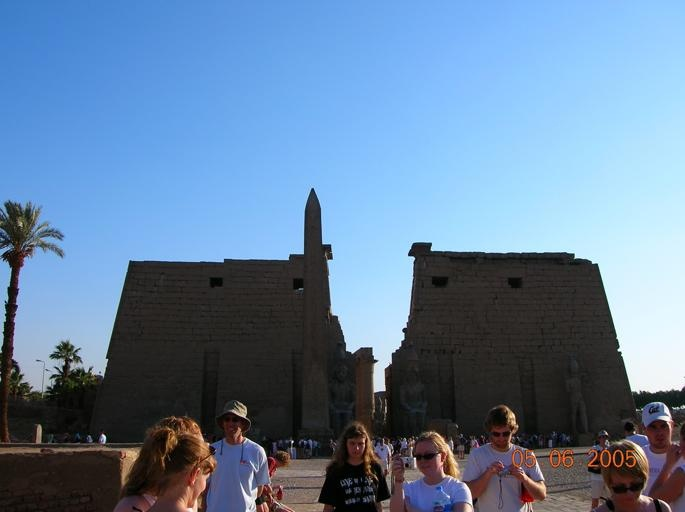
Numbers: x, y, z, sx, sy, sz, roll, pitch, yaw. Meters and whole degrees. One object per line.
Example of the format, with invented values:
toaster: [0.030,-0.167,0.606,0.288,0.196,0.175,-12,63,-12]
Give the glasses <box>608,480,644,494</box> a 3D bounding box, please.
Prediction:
glasses: [1.657,1.348,3.223,0.181,0.059,0.141,-12,-23,23]

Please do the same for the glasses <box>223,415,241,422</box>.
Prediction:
glasses: [-0.920,1.345,4.582,0.069,0.032,0.082,-3,-5,4]

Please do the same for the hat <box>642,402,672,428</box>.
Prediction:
hat: [2.581,1.319,4.550,0.200,0.150,0.283,-9,-19,20]
